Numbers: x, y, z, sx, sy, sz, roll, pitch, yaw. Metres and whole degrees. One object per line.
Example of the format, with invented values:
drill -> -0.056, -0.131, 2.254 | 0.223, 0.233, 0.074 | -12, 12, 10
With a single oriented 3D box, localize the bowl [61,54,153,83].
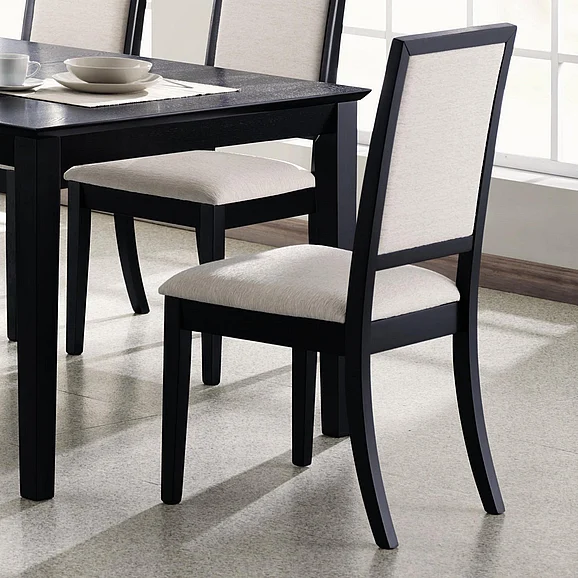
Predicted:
bowl -> -0.373, -0.459, 1.350 | 0.117, 0.031, 0.115 | 4, 16, -1

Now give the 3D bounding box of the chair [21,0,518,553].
chair -> 0.079, -0.010, 1.062 | 0.459, 0.805, 0.417 | 12, 15, 42
